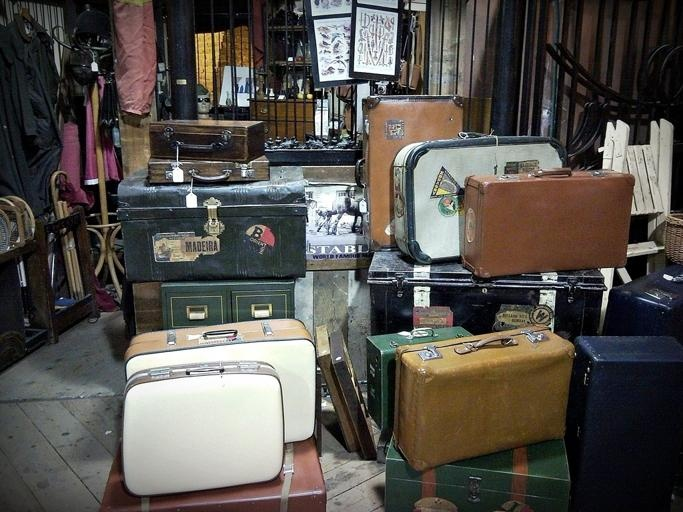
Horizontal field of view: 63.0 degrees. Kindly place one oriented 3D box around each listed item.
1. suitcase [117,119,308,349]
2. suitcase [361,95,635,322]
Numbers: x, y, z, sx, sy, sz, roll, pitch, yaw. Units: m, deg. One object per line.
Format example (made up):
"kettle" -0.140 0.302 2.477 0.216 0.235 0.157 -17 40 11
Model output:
"suitcase" -0.591 -0.145 3.786 1.293 1.546 1.137 0 20 -4
"suitcase" 0.681 -0.364 3.487 1.241 1.046 1.294 -2 7 -13
